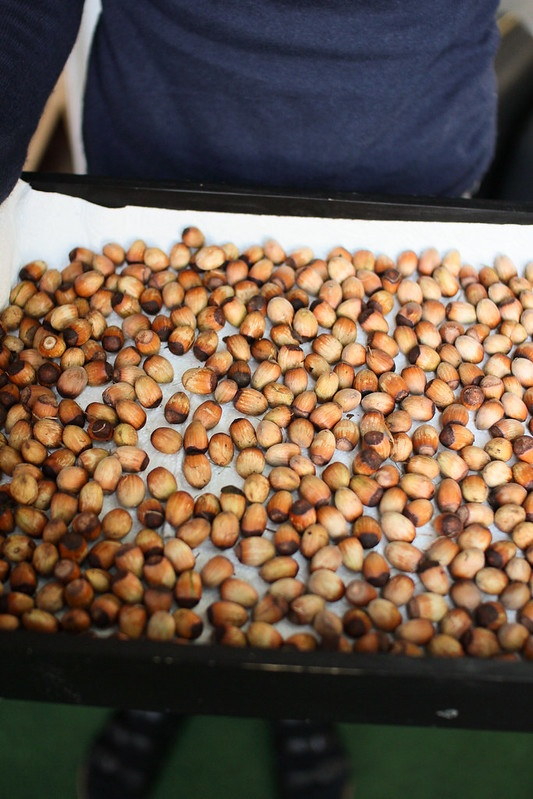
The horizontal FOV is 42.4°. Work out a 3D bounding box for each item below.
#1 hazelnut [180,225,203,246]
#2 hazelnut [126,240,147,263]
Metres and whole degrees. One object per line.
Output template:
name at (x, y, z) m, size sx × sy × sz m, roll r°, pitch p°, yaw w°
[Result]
hazelnut at (-0.131, -0.282, 1.201) m, size 0.028 × 0.035 × 0.026 m, roll -26°, pitch 49°, yaw 16°
hazelnut at (-0.230, -0.257, 1.201) m, size 0.031 × 0.040 × 0.022 m, roll 33°, pitch 1°, yaw -6°
